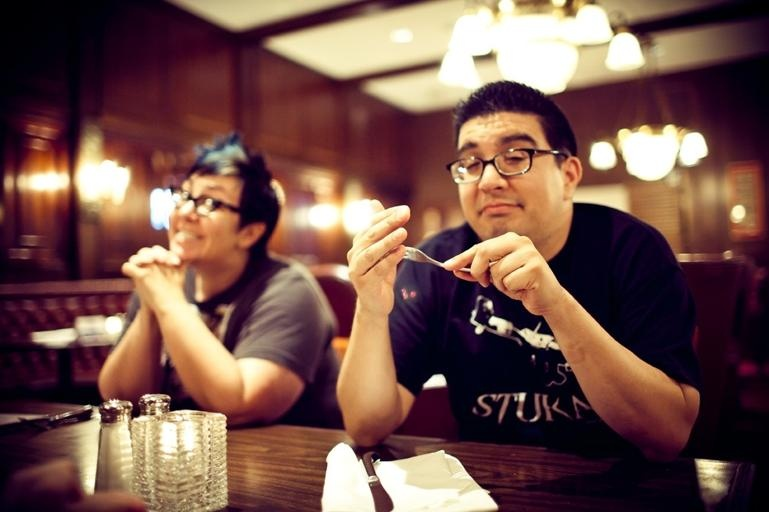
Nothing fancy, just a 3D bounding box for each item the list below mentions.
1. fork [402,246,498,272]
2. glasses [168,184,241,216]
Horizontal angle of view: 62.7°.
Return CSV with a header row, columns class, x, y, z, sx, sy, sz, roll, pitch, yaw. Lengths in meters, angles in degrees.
class,x,y,z,sx,sy,sz,roll,pitch,yaw
fork,0.223,0.013,2.164,0.340,0.048,0.048,11,-3,-34
glasses,-0.730,-0.205,2.431,0.151,0.044,0.149,17,-5,13
